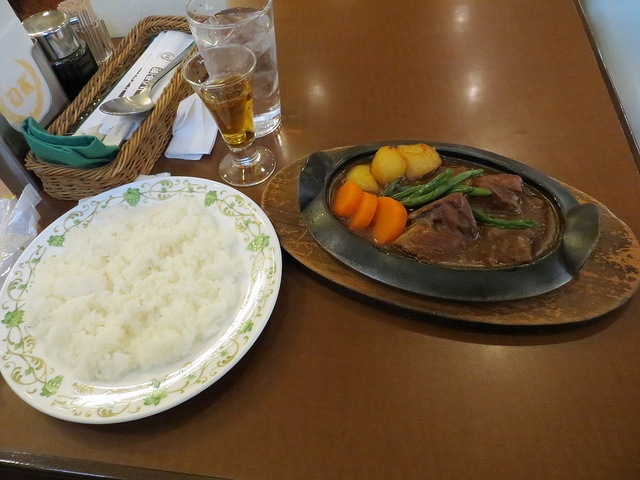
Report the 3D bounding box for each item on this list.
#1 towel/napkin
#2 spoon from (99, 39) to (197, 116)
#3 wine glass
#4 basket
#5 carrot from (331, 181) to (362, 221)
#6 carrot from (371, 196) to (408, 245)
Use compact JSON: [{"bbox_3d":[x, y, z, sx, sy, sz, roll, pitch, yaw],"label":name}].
[{"bbox_3d":[-0.879,-0.320,1.789,0.229,0.081,0.191,-1,43,-9],"label":"towel/napkin"},{"bbox_3d":[-0.651,-0.641,2.132,0.146,0.086,0.652,16,56,19],"label":"spoon"},{"bbox_3d":[-0.329,-0.440,1.854,0.293,0.431,0.280,13,58,12],"label":"wine glass"},{"bbox_3d":[-0.717,-0.539,2.049,0.394,0.187,0.933,11,52,14],"label":"basket"},{"bbox_3d":[0.077,-0.118,1.591,0.026,0.104,0.108,15,44,-32],"label":"carrot"},{"bbox_3d":[0.198,-0.056,1.532,0.031,0.124,0.128,8,52,-38],"label":"carrot"}]
